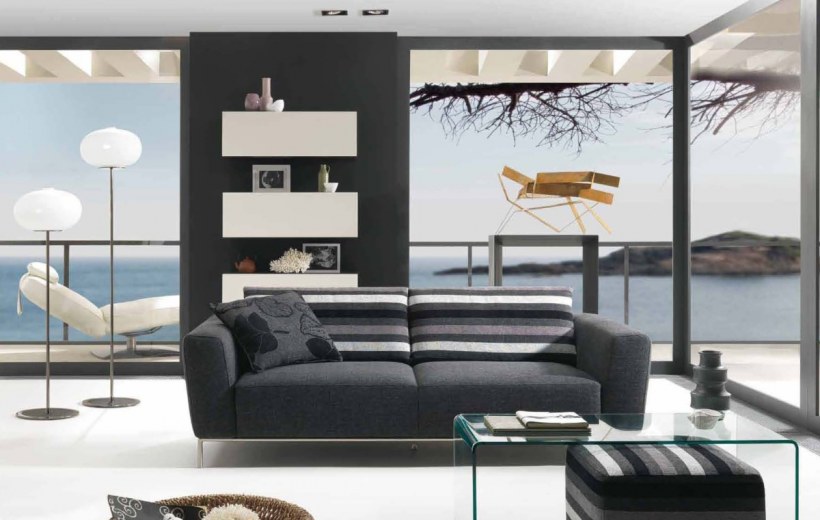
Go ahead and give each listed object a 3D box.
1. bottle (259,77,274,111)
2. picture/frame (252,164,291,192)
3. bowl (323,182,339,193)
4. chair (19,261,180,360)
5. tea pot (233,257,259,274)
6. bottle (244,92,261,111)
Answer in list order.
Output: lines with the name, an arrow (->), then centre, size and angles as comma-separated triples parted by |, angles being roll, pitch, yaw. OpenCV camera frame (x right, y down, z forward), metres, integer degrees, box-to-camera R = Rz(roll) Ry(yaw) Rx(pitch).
bottle -> -1.419, -1.639, 8.013 | 0.130, 0.337, 0.179 | -3, 4, -9
picture/frame -> -1.370, -0.802, 8.007 | 0.343, 0.201, 0.020 | 0, -3, -4
bowl -> -0.780, -0.718, 8.029 | 0.128, 0.071, 0.113 | -1, 1, 2
chair -> -3.060, 0.540, 8.069 | 1.728, 0.805, 0.860 | 1, -1, -16
tea pot -> -1.617, 0.056, 8.011 | 0.232, 0.127, 0.152 | 3, -3, -2
bottle -> -1.553, -1.562, 8.009 | 0.164, 0.177, 0.152 | -2, 4, -10
